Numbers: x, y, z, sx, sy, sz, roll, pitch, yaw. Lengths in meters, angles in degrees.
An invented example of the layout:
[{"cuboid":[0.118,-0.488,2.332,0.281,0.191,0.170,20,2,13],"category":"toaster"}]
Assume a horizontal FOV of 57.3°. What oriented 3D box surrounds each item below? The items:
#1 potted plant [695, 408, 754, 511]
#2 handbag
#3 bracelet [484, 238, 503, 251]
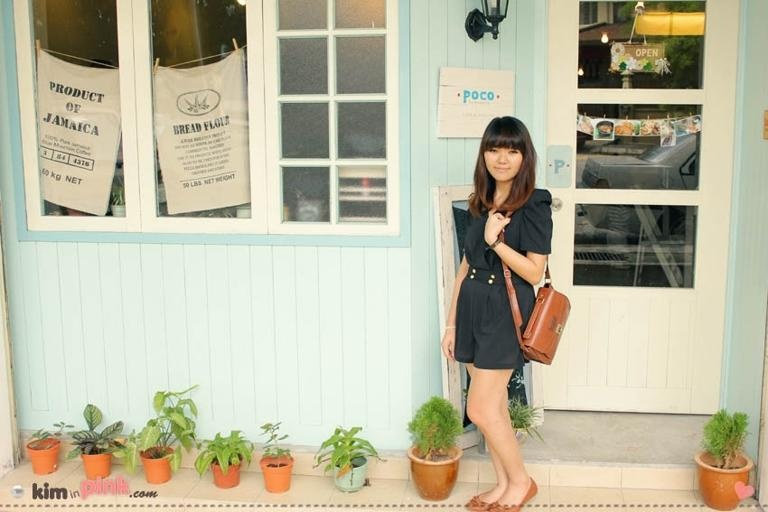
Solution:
[{"cuboid":[2.160,1.279,4.462,0.336,0.605,0.220,1,7,20],"category":"potted plant"},{"cuboid":[0.950,0.400,4.138,0.303,0.485,0.205,-1,7,2],"category":"handbag"},{"cuboid":[0.631,-0.067,4.029,0.058,0.022,0.060,-37,-15,28],"category":"bracelet"}]
